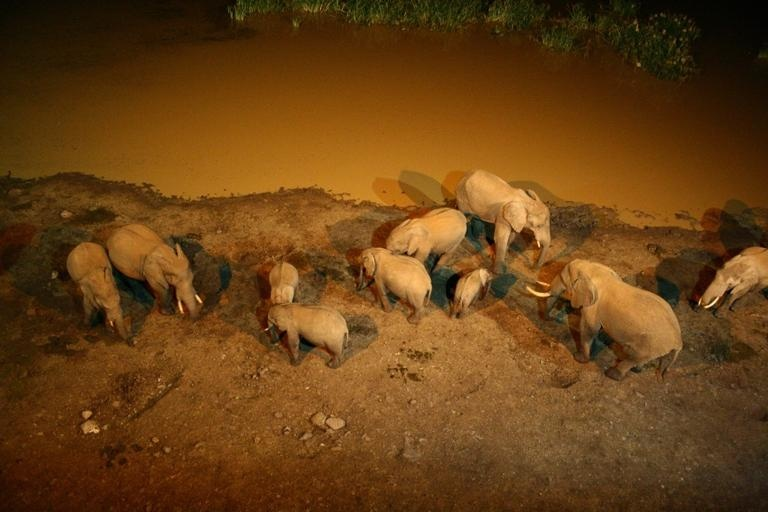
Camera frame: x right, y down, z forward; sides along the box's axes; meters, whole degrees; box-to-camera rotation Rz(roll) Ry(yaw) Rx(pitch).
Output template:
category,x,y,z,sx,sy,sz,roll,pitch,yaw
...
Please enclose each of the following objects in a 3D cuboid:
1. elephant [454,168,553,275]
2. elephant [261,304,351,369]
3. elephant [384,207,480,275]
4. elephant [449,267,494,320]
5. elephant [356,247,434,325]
category,x,y,z,sx,sy,sz,roll,pitch,yaw
elephant,2.431,-0.697,11.433,2.312,1.798,1.002,34,45,31
elephant,-1.391,1.359,9.689,1.576,1.111,0.654,7,32,7
elephant,0.833,-0.323,10.839,1.972,1.086,0.748,-13,44,-21
elephant,1.656,0.529,10.363,0.508,0.647,1.135,29,49,17
elephant,0.155,0.484,10.439,1.646,1.231,0.751,24,46,26
